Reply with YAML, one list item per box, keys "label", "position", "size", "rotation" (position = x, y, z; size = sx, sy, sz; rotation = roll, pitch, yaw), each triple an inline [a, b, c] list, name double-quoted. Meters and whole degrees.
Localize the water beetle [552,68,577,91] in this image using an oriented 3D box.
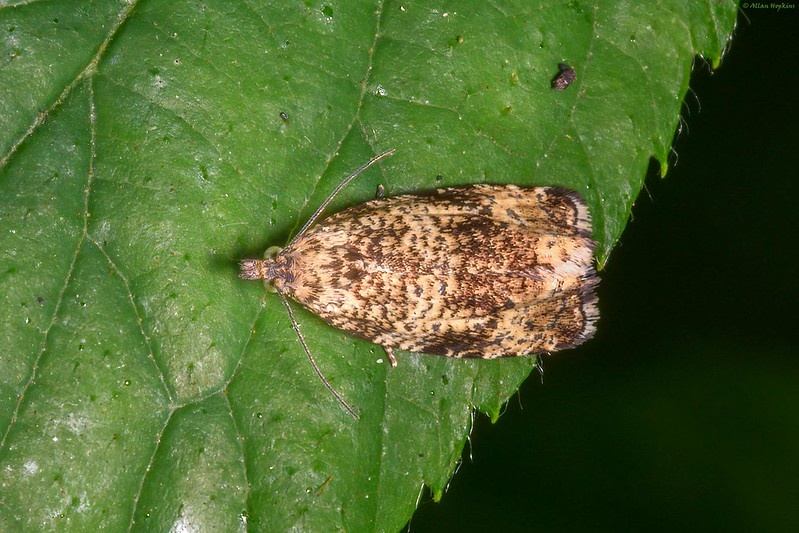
- label: "water beetle"
  position: [0.983, -1.117, 5.178]
  size: [0.098, 0.140, 0.041]
  rotation: [35, 18, -2]
